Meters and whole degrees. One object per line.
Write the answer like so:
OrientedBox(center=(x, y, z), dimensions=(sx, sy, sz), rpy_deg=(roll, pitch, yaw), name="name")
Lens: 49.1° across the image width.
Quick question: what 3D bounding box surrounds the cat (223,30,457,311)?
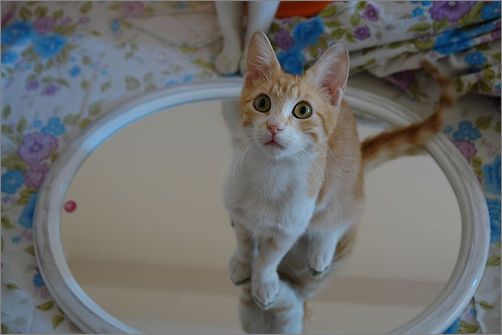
OrientedBox(center=(0.357, -0.141, 2.107), dimensions=(0.360, 0.850, 1.275), rpy_deg=(22, 28, 29), name="cat")
